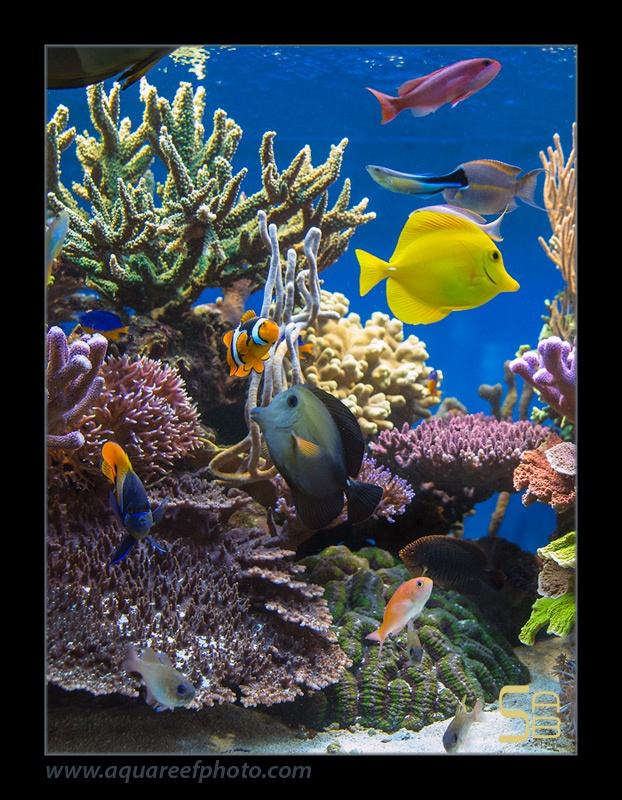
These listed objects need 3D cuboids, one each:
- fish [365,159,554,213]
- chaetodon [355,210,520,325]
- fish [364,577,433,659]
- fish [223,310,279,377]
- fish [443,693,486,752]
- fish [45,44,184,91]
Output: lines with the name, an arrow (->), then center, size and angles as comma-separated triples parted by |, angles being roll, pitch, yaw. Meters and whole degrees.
fish -> 0.591, -0.875, 3.551 | 0.776, 0.243, 0.166 | 2, 10, -18
chaetodon -> 0.510, -0.545, 3.528 | 0.688, 0.452, 0.126 | 3, 18, 24
fish -> 0.351, 0.861, 3.625 | 0.280, 0.296, 0.133 | 1, 16, -22
fish -> -0.269, -0.227, 3.696 | 0.216, 0.300, 0.328 | 5, 14, -6
fish -> 0.610, 1.338, 3.639 | 0.085, 0.155, 0.290 | -8, 12, 35
fish -> -0.835, -1.343, 3.532 | 0.442, 0.179, 0.296 | 3, 14, -13
